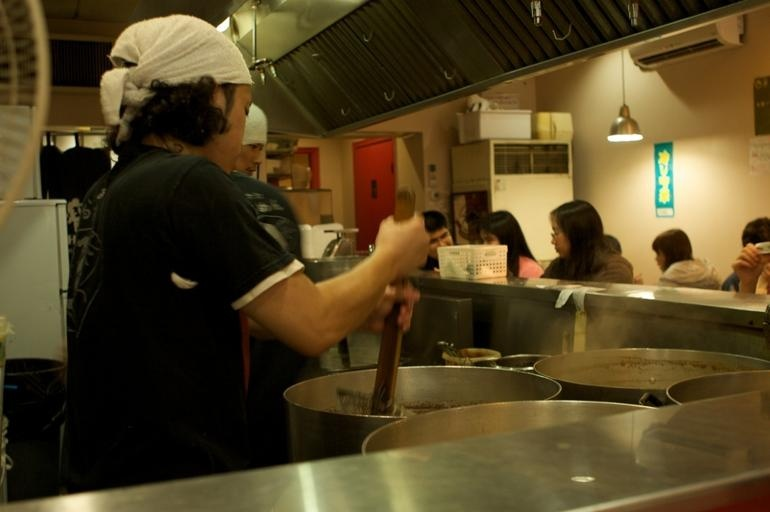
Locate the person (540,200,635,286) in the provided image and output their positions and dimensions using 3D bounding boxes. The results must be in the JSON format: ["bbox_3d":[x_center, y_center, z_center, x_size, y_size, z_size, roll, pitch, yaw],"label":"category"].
[{"bbox_3d":[1.123,-0.039,3.580,0.395,0.472,0.764,-2,10,-8],"label":"person"}]

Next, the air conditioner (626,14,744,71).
[{"bbox_3d":[2.416,-1.753,5.259,0.217,0.239,0.771,-46,24,-25],"label":"air conditioner"}]

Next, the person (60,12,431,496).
[{"bbox_3d":[-0.322,-0.005,1.220,0.701,0.914,0.257,-3,-6,10],"label":"person"}]
